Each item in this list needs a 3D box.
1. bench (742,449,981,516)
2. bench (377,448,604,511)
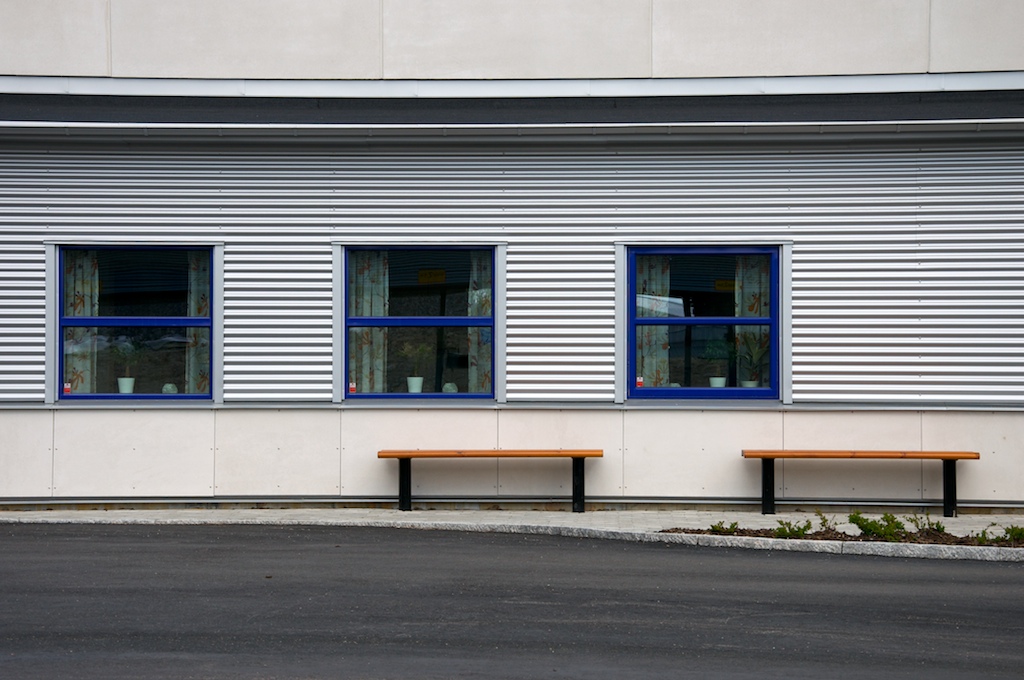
[{"bbox_3d":[4.837,1.972,25.626,3.253,0.906,0.329,0,4,5],"label":"bench"},{"bbox_3d":[-0.277,1.964,25.747,3.298,0.863,0.438,-1,1,7],"label":"bench"}]
